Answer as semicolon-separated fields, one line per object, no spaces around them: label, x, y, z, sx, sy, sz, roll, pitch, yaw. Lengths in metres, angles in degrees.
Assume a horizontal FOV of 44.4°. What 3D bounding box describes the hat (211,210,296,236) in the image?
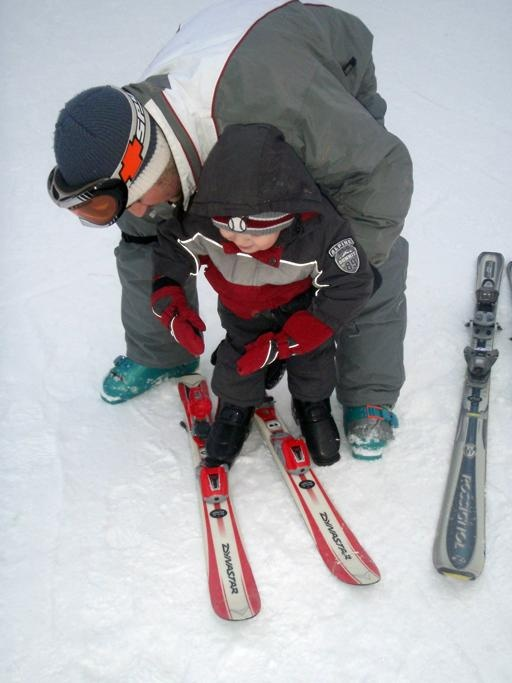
hat;-0.005;-0.331;1.741;0.230;0.078;0.107;-6;28;0

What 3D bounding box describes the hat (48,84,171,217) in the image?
hat;-0.374;-0.467;1.604;0.331;0.334;0.152;-14;31;-11

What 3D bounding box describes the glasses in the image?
glasses;-0.383;-0.393;1.672;0.188;0.117;0.214;31;81;39

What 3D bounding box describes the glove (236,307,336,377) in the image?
glove;0.100;0.004;2.079;0.293;0.180;0.086;-42;2;19

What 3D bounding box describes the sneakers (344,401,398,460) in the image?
sneakers;0.416;0.321;2.303;0.167;0.191;0.083;3;-2;-5

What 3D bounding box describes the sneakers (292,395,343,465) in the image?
sneakers;0.223;0.325;2.254;0.112;0.113;0.270;-15;59;-5

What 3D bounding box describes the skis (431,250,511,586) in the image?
skis;0.983;0.007;2.621;0.276;0.179;2.278;8;38;18

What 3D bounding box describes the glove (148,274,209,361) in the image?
glove;-0.260;-0.086;2.127;0.089;0.163;0.278;-37;69;-14
